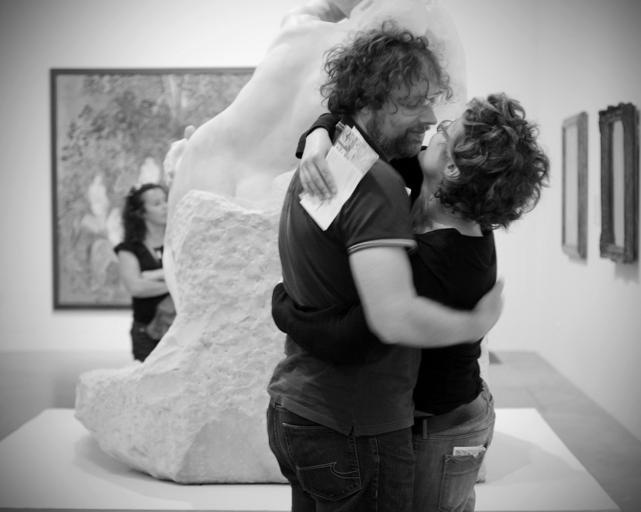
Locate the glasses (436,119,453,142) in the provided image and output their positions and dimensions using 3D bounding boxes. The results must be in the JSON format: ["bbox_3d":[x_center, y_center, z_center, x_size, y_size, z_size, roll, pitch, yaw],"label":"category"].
[{"bbox_3d":[0.317,-0.326,1.697,0.042,0.056,0.061,0,17,-2],"label":"glasses"}]

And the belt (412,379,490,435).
[{"bbox_3d":[0.362,0.419,1.778,0.163,0.059,0.128,-19,-3,-1],"label":"belt"}]
